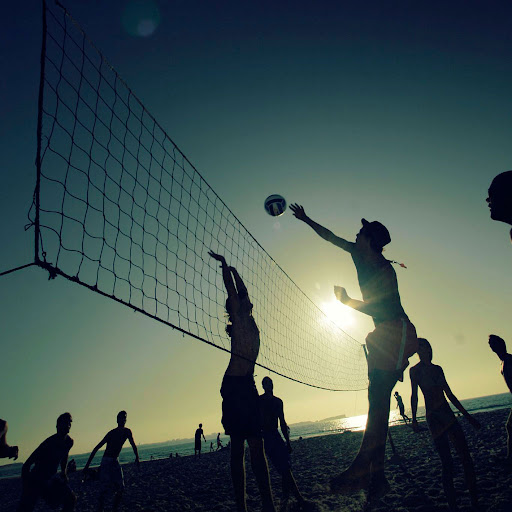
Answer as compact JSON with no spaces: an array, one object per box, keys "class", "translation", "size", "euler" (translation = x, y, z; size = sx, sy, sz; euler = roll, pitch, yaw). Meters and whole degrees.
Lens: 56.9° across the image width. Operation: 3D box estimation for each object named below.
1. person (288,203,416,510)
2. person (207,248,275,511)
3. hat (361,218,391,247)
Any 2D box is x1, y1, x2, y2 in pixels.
[{"class":"person","translation":[0.896,0.675,3.780],"size":[0.730,2.256,0.428],"euler":[-14,-22,26]},{"class":"person","translation":[-0.143,1.020,4.327],"size":[0.486,2.416,0.501],"euler":[-3,-20,-1]},{"class":"hat","translation":[0.916,-0.161,3.707],"size":[0.072,0.268,0.185],"euler":[-36,-18,34]}]
